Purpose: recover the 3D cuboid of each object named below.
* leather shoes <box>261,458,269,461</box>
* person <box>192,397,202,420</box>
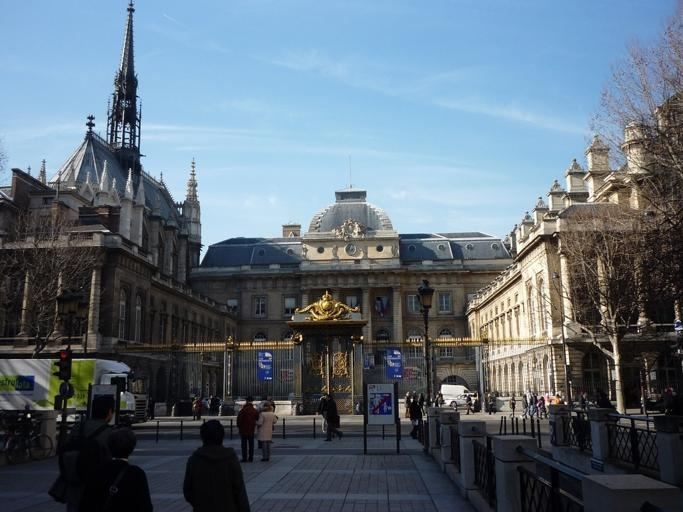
[{"bbox_3d":[-2.438,6.484,24.025,0.163,0.054,0.120,2,-9,4],"label":"leather shoes"},{"bbox_3d":[-9.006,9.459,46.916,0.340,1.405,1.706,2,-14,-13],"label":"person"}]
